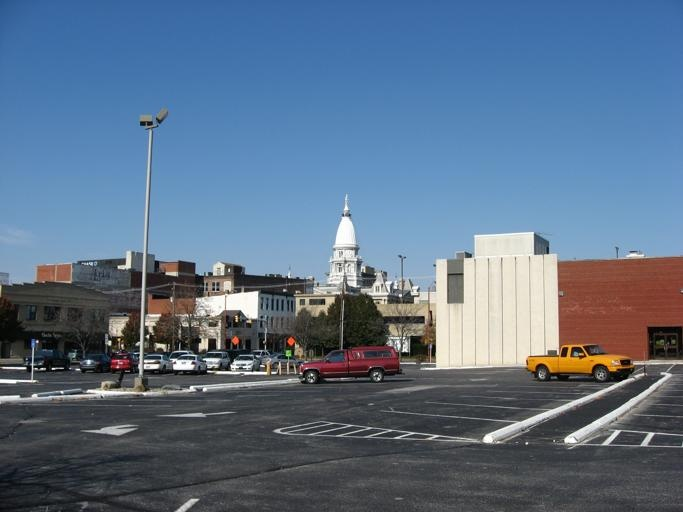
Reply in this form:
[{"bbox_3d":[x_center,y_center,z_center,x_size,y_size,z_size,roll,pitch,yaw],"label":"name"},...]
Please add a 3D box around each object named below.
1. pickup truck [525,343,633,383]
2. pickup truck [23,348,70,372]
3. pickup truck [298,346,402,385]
[{"bbox_3d":[12.240,5.515,39.734,4.284,1.477,2.260,-7,-7,36],"label":"pickup truck"},{"bbox_3d":[-22.192,7.864,58.362,1.674,1.576,3.619,-2,-9,19],"label":"pickup truck"},{"bbox_3d":[0.594,5.826,41.660,4.578,1.659,2.252,1,-6,5],"label":"pickup truck"}]
